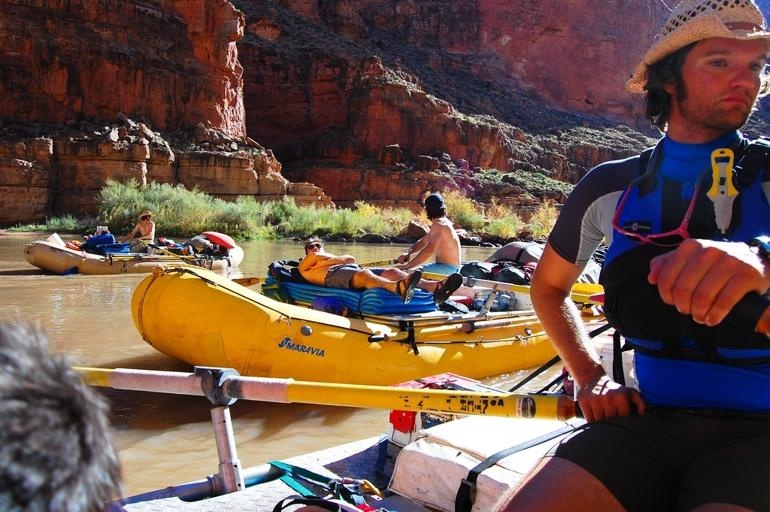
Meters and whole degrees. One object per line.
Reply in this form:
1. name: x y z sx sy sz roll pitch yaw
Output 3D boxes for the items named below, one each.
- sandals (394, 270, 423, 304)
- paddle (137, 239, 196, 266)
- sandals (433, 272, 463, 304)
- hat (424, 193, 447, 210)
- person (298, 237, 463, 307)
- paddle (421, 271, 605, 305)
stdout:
1. sandals: 0.221 0.248 6.602 0.129 0.377 0.157 17 21 -27
2. paddle: -3.853 -0.053 13.328 1.167 0.274 0.683 16 11 27
3. sandals: 0.582 0.289 7.033 0.149 0.399 0.159 40 27 -16
4. hat: 0.605 -0.661 9.119 0.227 0.169 0.281 4 6 1
5. person: -0.139 0.181 6.938 1.677 0.432 0.580 7 0 38
6. paddle: 1.181 0.308 7.205 0.633 0.195 1.128 15 -7 -22
